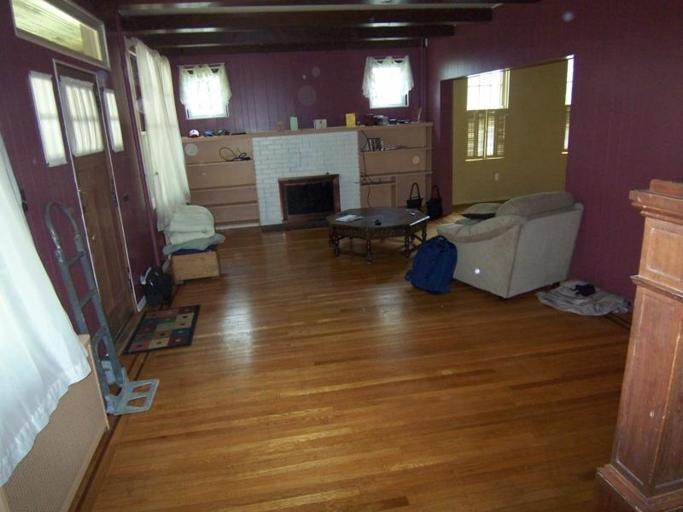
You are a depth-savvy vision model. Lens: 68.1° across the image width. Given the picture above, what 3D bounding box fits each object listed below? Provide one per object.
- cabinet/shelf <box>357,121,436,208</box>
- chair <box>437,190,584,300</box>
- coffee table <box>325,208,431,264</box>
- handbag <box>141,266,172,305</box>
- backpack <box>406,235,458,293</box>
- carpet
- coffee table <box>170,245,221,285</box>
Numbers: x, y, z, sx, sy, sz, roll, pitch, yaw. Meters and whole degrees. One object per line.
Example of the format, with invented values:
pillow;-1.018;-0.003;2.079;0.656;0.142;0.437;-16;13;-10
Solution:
cabinet/shelf;0.899;-1.573;8.464;1.576;1.658;0.452;-3;12;-8
chair;1.777;-0.191;5.441;1.085;0.938;1.235;-13;15;-26
coffee table;0.467;-0.274;6.565;1.292;0.510;1.045;0;18;13
handbag;-2.003;0.340;5.486;0.228;0.415;0.314;-7;18;12
backpack;0.969;0.107;5.299;0.486;0.580;0.253;15;-4;25
carpet;-1.697;0.700;4.889;0.692;0.037;0.836;-4;23;3
coffee table;-1.719;0.124;5.951;0.529;0.369;0.133;-9;19;-13
